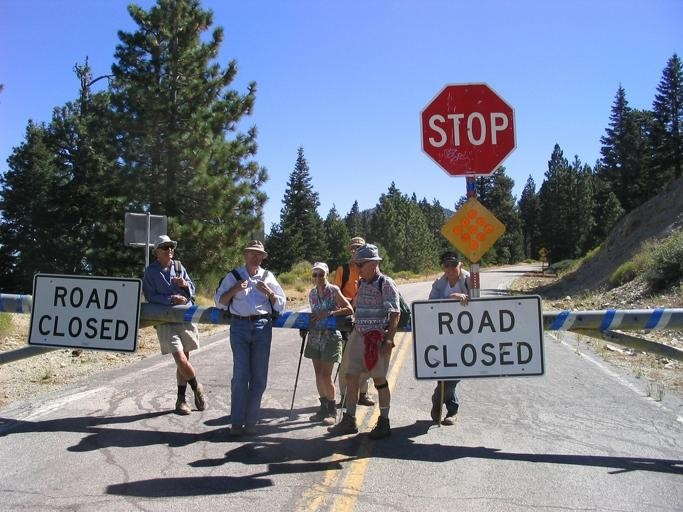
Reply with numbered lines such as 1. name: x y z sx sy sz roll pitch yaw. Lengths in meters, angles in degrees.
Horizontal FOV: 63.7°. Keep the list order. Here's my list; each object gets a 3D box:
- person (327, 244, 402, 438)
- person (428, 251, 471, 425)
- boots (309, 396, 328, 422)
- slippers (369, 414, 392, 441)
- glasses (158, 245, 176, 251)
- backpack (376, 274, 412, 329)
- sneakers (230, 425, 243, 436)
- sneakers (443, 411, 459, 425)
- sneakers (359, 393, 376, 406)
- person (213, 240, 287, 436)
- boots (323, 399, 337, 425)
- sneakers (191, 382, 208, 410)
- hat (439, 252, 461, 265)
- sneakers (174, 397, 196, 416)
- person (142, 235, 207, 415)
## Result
1. person: 0.322 1.107 6.656 0.741 2.388 0.472 1 2 8
2. person: 1.390 1.141 7.100 0.507 2.288 0.839 1 2 11
3. boots: -0.267 2.175 7.251 0.151 0.351 0.315 -11 -21 36
4. slippers: 0.469 2.178 6.530 0.135 0.249 0.350 -7 -12 37
5. glasses: -2.354 -0.051 7.412 0.098 0.077 0.264 1 2 21
6. backpack: 0.600 0.713 6.950 0.426 0.700 0.683 -3 -31 4
7. sneakers: -1.253 2.200 6.536 0.126 0.134 0.056 0 2 -12
8. sneakers: 1.404 2.223 7.088 0.088 0.223 0.296 -6 -37 25
9. sneakers: 0.342 2.176 7.874 0.294 0.256 0.111 -1 9 -6
10. person: -1.144 1.059 6.910 0.753 2.387 0.575 -1 2 -39
11. boots: -0.141 2.201 7.225 0.125 0.267 0.299 -1 -19 4
12. sneakers: -1.893 2.032 7.435 0.131 0.490 0.183 -6 4 12
13. hat: 1.443 0.088 7.233 0.187 0.163 0.288 -1 -20 14
14. sneakers: -2.070 2.125 7.238 0.112 0.249 0.326 9 -21 -37
15. person: -2.268 0.984 7.481 0.792 2.405 0.849 -1 2 -32
